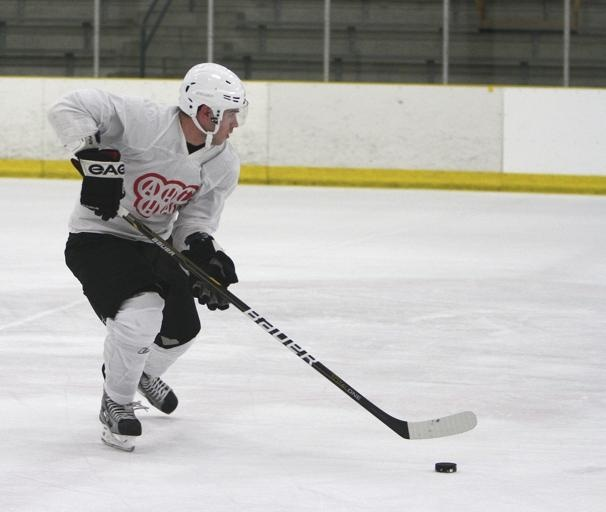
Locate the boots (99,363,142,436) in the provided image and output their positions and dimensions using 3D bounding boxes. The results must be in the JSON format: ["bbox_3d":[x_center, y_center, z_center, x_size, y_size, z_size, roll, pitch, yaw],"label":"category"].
[{"bbox_3d":[-0.551,0.487,3.291,0.123,0.137,0.174,-1,13,-9],"label":"boots"}]

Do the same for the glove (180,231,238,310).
[{"bbox_3d":[-0.280,0.045,3.538,0.246,0.188,0.086,49,20,23],"label":"glove"}]

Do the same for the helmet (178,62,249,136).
[{"bbox_3d":[-0.299,-0.504,3.497,0.245,0.201,0.161,7,30,-11],"label":"helmet"}]
